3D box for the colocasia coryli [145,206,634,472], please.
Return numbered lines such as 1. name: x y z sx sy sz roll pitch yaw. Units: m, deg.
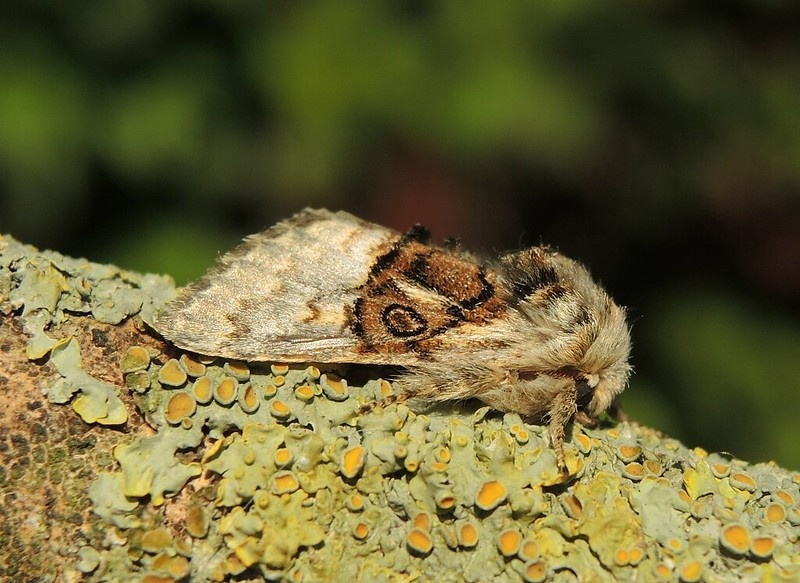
1. colocasia coryli: 0.022 0.073 2.995 1.012 0.412 0.784 30 44 -4
